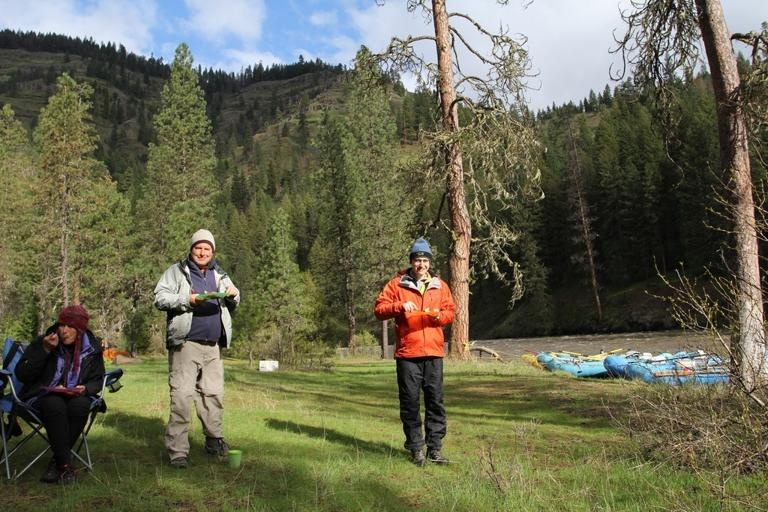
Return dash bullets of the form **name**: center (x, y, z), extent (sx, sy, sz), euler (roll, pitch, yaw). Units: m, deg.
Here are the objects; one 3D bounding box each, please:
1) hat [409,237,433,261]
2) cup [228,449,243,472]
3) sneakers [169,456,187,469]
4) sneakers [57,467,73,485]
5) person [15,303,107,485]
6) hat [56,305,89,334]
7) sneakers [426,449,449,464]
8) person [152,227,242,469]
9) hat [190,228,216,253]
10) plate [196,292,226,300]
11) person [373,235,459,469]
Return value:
- **hat**: center (0.685, -0.100, 13.174), extent (0.305, 0.356, 0.481), euler (2, -10, 1)
- **cup**: center (-2.563, 3.535, 12.217), extent (0.238, 0.211, 0.266), euler (1, -11, 1)
- **sneakers**: center (-3.498, 3.553, 12.035), extent (0.144, 0.139, 0.286), euler (10, -24, -34)
- **sneakers**: center (-5.192, 3.597, 11.533), extent (0.265, 0.293, 0.190), euler (-10, -16, 31)
- **person**: center (-5.445, 2.243, 11.978), extent (1.322, 2.692, 1.035), euler (-1, 4, -24)
- **hat**: center (-5.328, 1.106, 12.322), extent (0.439, 0.504, 0.507), euler (7, -5, 5)
- **sneakers**: center (0.965, 3.669, 12.779), extent (0.412, 0.227, 0.167), euler (2, 4, 7)
- **person**: center (-3.311, 1.567, 12.436), extent (1.327, 3.993, 1.037), euler (0, 4, -20)
- **hat**: center (-3.263, -0.254, 12.794), extent (0.386, 0.372, 0.411), euler (2, -4, -1)
- **plate**: center (-3.016, 0.719, 12.374), extent (0.510, 0.175, 0.496), euler (0, 4, -13)
- **person**: center (0.628, 1.738, 12.948), extent (1.275, 4.057, 0.815), euler (1, 4, 5)
